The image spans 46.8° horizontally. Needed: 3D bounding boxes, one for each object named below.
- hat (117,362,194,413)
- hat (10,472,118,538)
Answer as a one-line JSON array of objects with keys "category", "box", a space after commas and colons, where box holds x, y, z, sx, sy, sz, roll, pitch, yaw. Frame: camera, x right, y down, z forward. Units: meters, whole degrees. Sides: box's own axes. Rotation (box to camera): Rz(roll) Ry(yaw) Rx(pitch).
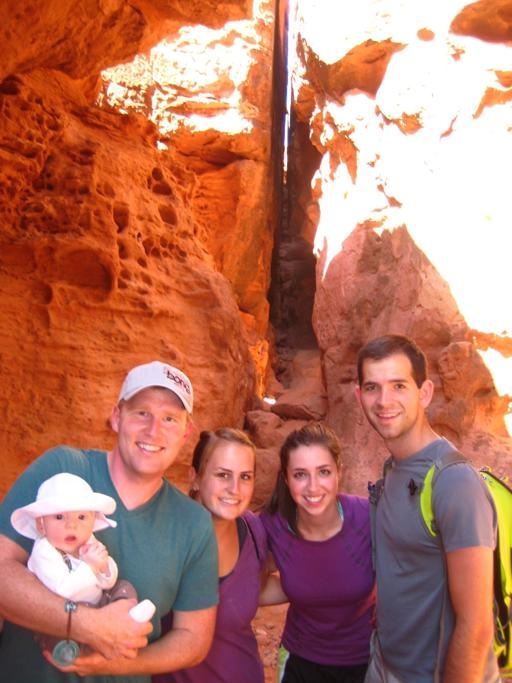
[{"category": "hat", "box": [-0.397, 0.174, 2.352, 0.194, 0.131, 0.254, 13, -24, -13]}, {"category": "hat", "box": [-0.635, 0.542, 1.889, 0.246, 0.127, 0.248, -26, -38, 34]}]
